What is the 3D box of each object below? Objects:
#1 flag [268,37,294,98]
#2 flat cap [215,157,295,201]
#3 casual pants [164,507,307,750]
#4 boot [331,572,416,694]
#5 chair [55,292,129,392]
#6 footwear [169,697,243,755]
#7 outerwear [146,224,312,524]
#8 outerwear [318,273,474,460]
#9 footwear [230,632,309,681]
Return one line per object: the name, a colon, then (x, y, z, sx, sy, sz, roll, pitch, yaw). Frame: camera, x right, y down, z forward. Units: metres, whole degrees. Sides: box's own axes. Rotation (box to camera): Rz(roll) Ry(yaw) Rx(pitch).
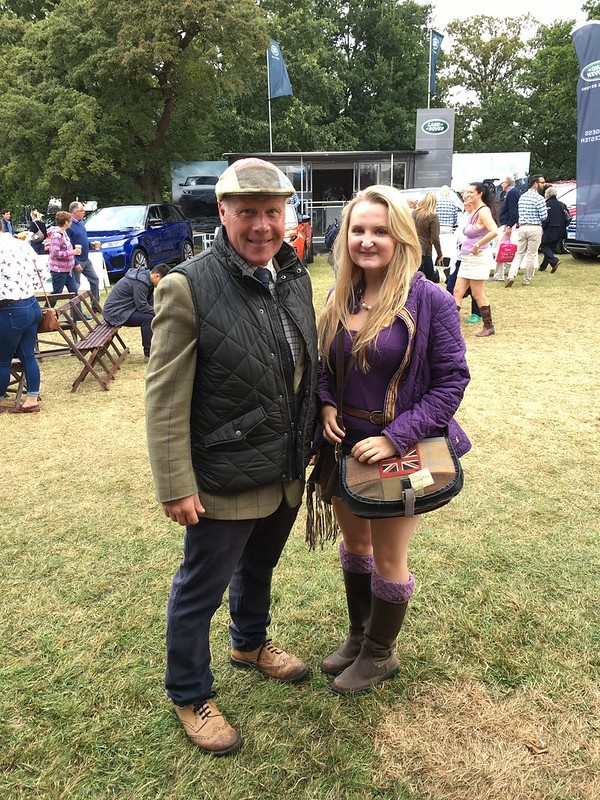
flag: (-0.785, -11.372, 20.949, 0.664, 1.882, 1.461, 3, 15, 19)
flat cap: (-0.138, -0.599, 1.664, 0.147, 0.068, 0.165, -6, 22, -20)
casual pants: (-0.217, 0.800, 2.062, 0.198, 0.896, 0.326, 25, 46, 22)
boot: (0.235, 0.830, 2.158, 0.290, 0.399, 0.135, 0, 9, -32)
chair: (-2.441, -0.652, 7.157, 0.387, 0.708, 1.289, -3, 27, -2)
footwear: (-0.294, 1.039, 1.944, 0.101, 0.102, 0.249, -9, 7, -36)
outerwear: (-0.169, -0.054, 1.781, 0.216, 0.850, 0.626, 12, 20, 43)
outerwear: (0.284, -0.138, 2.021, 0.551, 0.611, 0.511, 9, 22, 30)
footwear: (-0.109, 0.943, 2.295, 0.278, 0.122, 0.123, 3, 12, 19)
